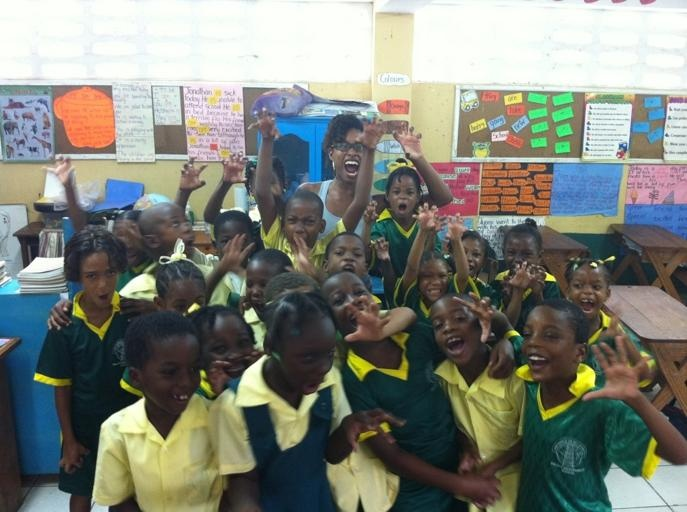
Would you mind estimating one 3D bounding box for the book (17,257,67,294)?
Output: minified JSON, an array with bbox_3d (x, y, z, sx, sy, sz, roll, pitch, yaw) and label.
[{"bbox_3d":[-1.650,0.103,3.440,0.237,0.161,0.281,-4,9,-18],"label":"book"}]
